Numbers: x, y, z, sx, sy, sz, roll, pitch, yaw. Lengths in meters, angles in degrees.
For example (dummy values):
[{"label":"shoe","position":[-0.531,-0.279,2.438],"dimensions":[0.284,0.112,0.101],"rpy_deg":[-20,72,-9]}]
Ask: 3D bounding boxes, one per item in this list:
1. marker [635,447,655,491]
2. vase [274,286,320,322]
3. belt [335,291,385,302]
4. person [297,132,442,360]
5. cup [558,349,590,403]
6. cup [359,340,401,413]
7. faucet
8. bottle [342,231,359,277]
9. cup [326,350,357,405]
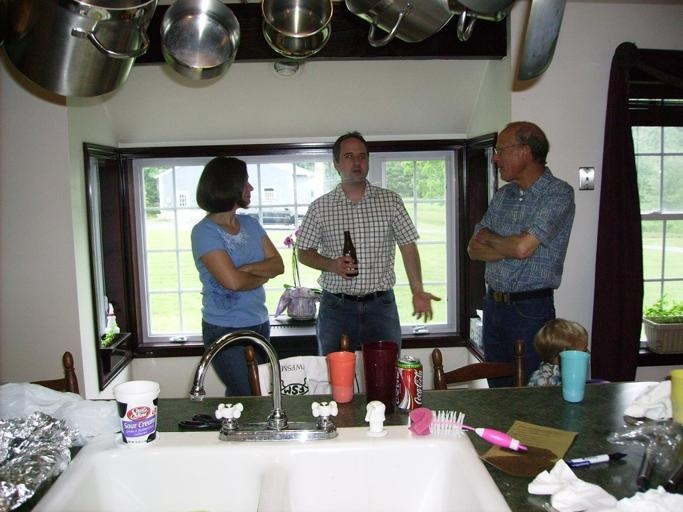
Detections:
[{"label":"marker","position":[0.803,0.561,1.396],"dimensions":[0.037,0.032,0.178],"rpy_deg":[27,21,18]},{"label":"vase","position":[-0.302,0.329,3.695],"dimensions":[0.254,0.187,0.239],"rpy_deg":[0,-1,-1]},{"label":"belt","position":[0.097,0.218,2.827],"dimensions":[0.265,0.056,0.032],"rpy_deg":[-4,4,0]},{"label":"person","position":[0.099,-0.070,2.856],"dimensions":[0.673,1.184,0.340],"rpy_deg":[-4,4,-5]},{"label":"cup","position":[0.795,0.399,1.811],"dimensions":[0.086,0.167,0.164],"rpy_deg":[-2,5,23]},{"label":"cup","position":[0.130,0.390,1.728],"dimensions":[0.113,0.227,0.100],"rpy_deg":[-3,4,2]},{"label":"faucet","position":[-0.303,0.356,1.538],"dimensions":[0.267,0.297,0.136],"rpy_deg":[-5,4,-17]},{"label":"bottle","position":[0.049,-0.009,2.785],"dimensions":[0.077,0.237,0.183],"rpy_deg":[-4,4,0]},{"label":"cup","position":[0.003,0.402,1.817],"dimensions":[0.086,0.176,0.170],"rpy_deg":[-4,4,-2]}]
